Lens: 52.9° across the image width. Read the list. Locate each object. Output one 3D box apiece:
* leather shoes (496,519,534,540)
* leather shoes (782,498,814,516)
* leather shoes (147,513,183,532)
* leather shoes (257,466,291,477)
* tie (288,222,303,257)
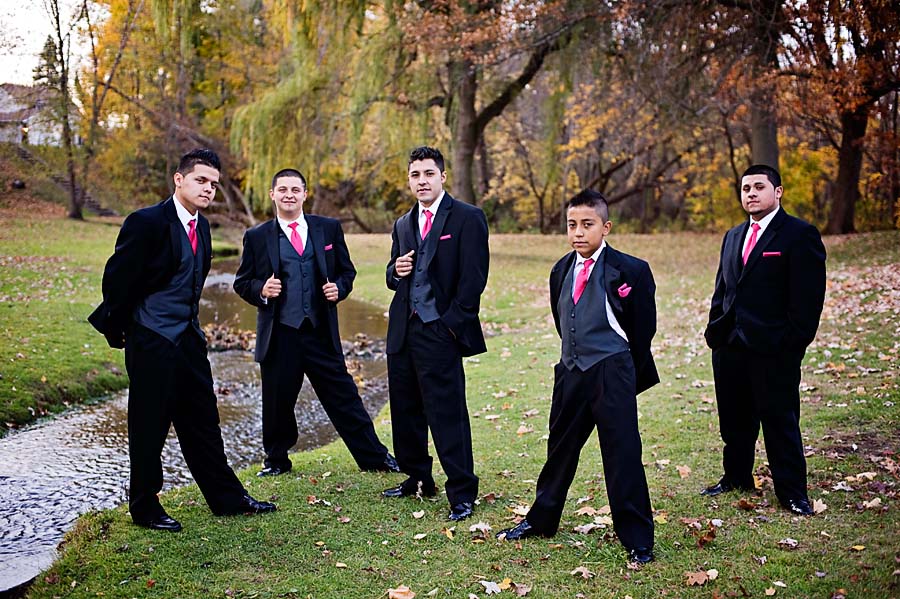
[{"bbox_3d":[0.801,2.843,11.164,0.546,0.234,0.187,1,-2,2],"label":"leather shoes"},{"bbox_3d":[4.305,2.561,11.169,0.295,0.131,0.168,-2,5,20],"label":"leather shoes"},{"bbox_3d":[-3.548,2.789,11.276,0.380,0.158,0.197,0,-5,5],"label":"leather shoes"},{"bbox_3d":[-2.426,2.347,12.442,0.406,0.181,0.152,6,-8,-9],"label":"leather shoes"},{"bbox_3d":[-2.059,-0.830,12.165,0.169,0.410,0.109,4,8,32],"label":"tie"}]
